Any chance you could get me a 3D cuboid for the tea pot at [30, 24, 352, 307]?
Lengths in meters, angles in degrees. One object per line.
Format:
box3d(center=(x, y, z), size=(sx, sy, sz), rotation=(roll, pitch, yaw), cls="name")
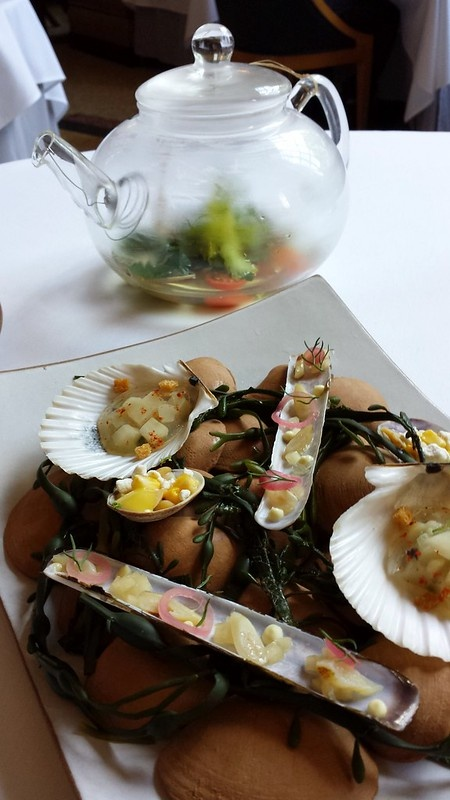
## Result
box3d(center=(-0.017, -0.262, 0.744), size=(0.335, 0.249, 0.248), rotation=(-13, 37, -20), cls="tea pot")
